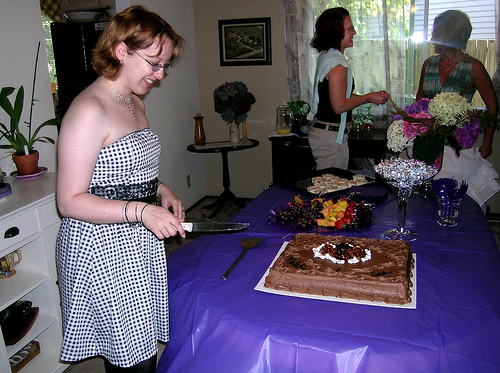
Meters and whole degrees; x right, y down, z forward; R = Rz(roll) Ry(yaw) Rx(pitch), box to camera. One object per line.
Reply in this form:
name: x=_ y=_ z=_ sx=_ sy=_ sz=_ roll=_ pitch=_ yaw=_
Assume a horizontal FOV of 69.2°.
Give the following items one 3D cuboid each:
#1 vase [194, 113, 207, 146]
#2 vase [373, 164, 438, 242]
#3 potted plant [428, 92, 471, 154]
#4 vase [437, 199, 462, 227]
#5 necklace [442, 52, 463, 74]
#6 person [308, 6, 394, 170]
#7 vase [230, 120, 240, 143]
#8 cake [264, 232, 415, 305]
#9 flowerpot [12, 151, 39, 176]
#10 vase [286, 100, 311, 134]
vase: x=-0.594 y=-0.672 z=4.239 sx=0.126 sy=0.356 sz=0.255 roll=-5 pitch=15 yaw=-3
vase: x=0.646 y=0.055 z=1.711 sx=0.301 sy=0.365 sz=0.288 roll=-18 pitch=26 yaw=-41
potted plant: x=0.991 y=-0.303 z=1.783 sx=0.213 sy=0.311 sz=0.155 roll=-17 pitch=19 yaw=-40
vase: x=0.926 y=0.115 z=1.727 sx=0.106 sy=0.135 sz=0.112 roll=2 pitch=11 yaw=3
necklace: x=1.611 y=-0.978 z=2.858 sx=0.060 sy=0.194 sz=0.026 roll=36 pitch=49 yaw=25
person: x=0.727 y=-0.721 z=2.831 sx=0.606 sy=1.249 sz=0.433 roll=2 pitch=16 yaw=25
vase: x=-0.183 y=-0.635 z=4.164 sx=0.106 sy=0.256 sz=0.076 roll=-7 pitch=15 yaw=-9
cake: x=0.360 y=0.292 z=1.417 sx=0.554 sy=0.127 sz=0.492 roll=-4 pitch=4 yaw=31
flowerpot: x=-1.389 y=-0.145 z=2.250 sx=0.135 sy=0.120 sz=0.139 roll=-5 pitch=11 yaw=-25
vase: x=0.559 y=-0.794 z=4.144 sx=0.375 sy=0.417 sz=0.268 roll=-3 pitch=6 yaw=-38
